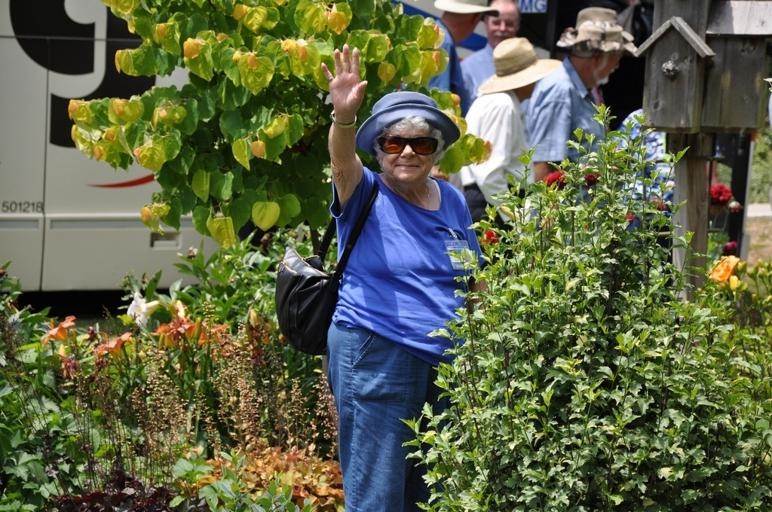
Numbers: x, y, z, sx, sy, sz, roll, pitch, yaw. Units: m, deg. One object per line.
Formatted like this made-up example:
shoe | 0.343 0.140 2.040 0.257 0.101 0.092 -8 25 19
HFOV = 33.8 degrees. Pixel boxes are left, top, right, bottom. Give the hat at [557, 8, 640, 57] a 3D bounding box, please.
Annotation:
hat | 1.568 -1.679 9.705 0.478 0.345 0.562 5 8 -6

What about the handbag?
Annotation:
handbag | -0.544 0.208 7.945 0.357 0.835 0.722 0 7 -14

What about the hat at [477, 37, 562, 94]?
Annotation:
hat | 0.962 -1.390 9.454 0.461 0.264 0.433 -37 8 -41

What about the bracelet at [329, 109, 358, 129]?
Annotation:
bracelet | -0.247 -0.797 7.463 0.143 0.113 0.133 1 -6 -10
